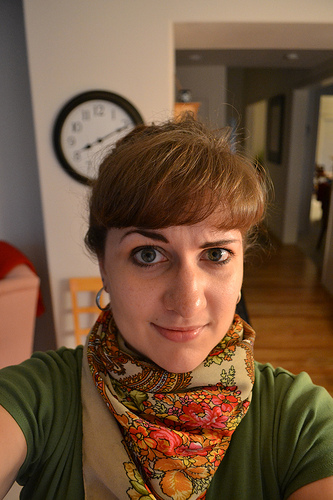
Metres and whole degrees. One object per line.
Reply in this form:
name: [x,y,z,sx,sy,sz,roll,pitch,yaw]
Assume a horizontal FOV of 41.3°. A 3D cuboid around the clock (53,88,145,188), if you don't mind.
clock: [-0.354,-0.587,2.384,0.564,0.523,0.041,4,17,17]
